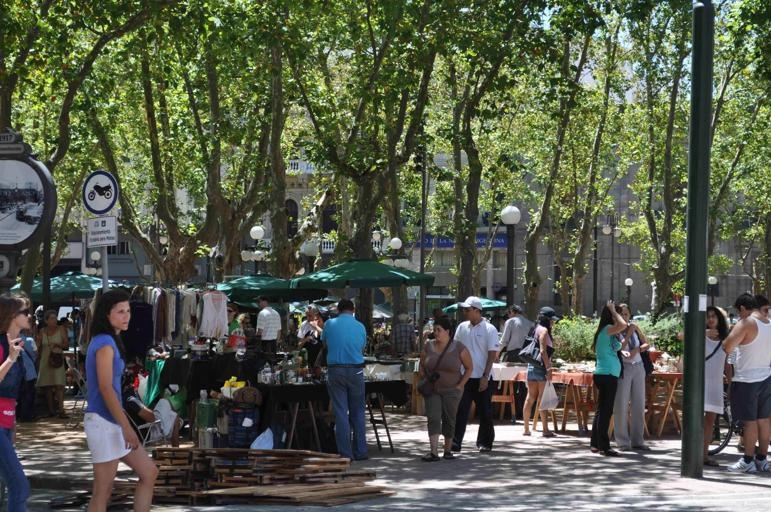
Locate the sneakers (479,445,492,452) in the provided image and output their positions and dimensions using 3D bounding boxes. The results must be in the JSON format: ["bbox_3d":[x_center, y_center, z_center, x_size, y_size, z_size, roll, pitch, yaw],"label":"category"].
[{"bbox_3d":[2.035,3.917,22.104,0.267,0.106,0.100,-4,-4,16],"label":"sneakers"}]

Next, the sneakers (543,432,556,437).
[{"bbox_3d":[3.622,3.921,23.856,0.323,0.127,0.104,1,-2,-37],"label":"sneakers"}]

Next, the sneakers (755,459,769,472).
[{"bbox_3d":[7.081,3.897,20.301,0.215,0.273,0.390,-3,-5,28],"label":"sneakers"}]

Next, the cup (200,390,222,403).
[{"bbox_3d":[-3.504,2.813,21.713,0.215,0.280,0.533,8,-1,29],"label":"cup"}]

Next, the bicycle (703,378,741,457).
[{"bbox_3d":[6.952,3.530,22.796,0.936,1.184,1.936,-2,-9,26],"label":"bicycle"}]

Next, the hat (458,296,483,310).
[{"bbox_3d":[1.782,0.965,22.170,0.379,0.198,0.245,3,-5,-8],"label":"hat"}]

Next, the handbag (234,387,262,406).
[{"bbox_3d":[-2.659,2.697,20.906,0.449,0.242,0.318,2,-3,-7],"label":"handbag"}]

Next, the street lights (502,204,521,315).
[{"bbox_3d":[4.181,0.029,36.096,0.701,3.366,0.654,-1,12,9],"label":"street lights"}]

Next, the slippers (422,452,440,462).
[{"bbox_3d":[0.886,3.902,21.094,0.345,0.150,0.140,2,-2,14],"label":"slippers"}]
